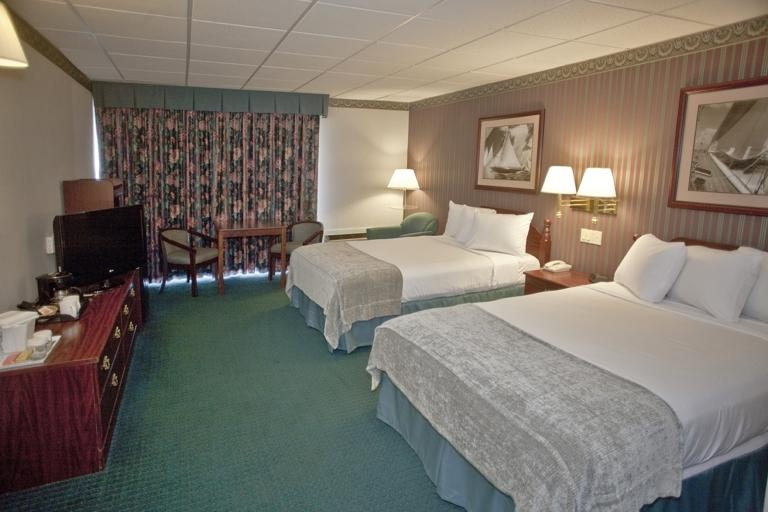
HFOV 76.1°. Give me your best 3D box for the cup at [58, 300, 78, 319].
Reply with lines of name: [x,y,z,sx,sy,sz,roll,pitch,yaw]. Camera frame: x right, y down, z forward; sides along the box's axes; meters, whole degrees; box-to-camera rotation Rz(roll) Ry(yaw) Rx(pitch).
cup: [-2.831,0.485,4.413,0.166,0.160,0.109,7,-1,7]

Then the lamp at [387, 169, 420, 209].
lamp: [0.391,-1.249,9.102,0.687,0.852,0.700,1,9,5]

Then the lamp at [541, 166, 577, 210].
lamp: [2.226,-0.944,6.128,0.438,0.325,0.286,1,10,0]

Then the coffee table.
coffee table: [-2.138,-0.018,8.039,1.073,0.993,1.061,-2,11,-16]

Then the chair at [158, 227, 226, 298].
chair: [-3.077,0.044,7.744,0.864,0.951,1.091,-3,11,-21]

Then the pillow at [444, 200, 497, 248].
pillow: [1.287,-0.450,7.141,0.196,0.460,0.685,14,5,-23]

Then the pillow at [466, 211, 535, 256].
pillow: [1.628,-0.289,6.697,0.560,0.407,0.199,7,0,32]

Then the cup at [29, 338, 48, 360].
cup: [-2.698,0.714,3.832,0.144,0.143,0.113,-3,12,-34]

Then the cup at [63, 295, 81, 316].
cup: [-2.854,0.436,4.459,0.191,0.167,0.124,23,19,36]

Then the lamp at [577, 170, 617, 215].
lamp: [2.546,-0.762,5.827,0.394,0.563,0.391,8,13,34]

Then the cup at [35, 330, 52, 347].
cup: [-2.715,0.645,3.889,0.118,0.104,0.109,5,8,-1]
